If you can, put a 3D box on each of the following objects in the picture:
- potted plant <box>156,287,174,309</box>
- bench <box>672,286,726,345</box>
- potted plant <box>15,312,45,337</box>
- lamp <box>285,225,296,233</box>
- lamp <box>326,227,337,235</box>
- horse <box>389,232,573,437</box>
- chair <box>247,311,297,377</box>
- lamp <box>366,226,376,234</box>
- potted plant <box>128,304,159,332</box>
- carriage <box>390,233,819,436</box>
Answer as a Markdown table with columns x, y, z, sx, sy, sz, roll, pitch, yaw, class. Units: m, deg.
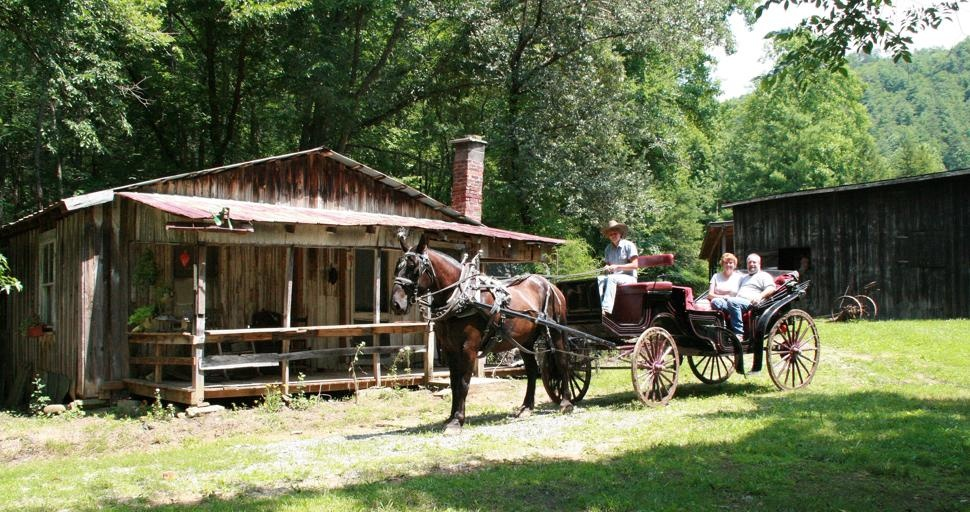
| x | y | z | sx | sy | sz | roll | pitch | yaw | class |
| --- | --- | --- | --- | --- | --- | --- | --- | --- | --- |
| -11.917 | 1.556 | 34.711 | 0.641 | 0.784 | 0.771 | 3 | 6 | 15 | potted plant |
| 7.327 | 2.121 | 31.603 | 1.424 | 2.203 | 1.861 | 0 | 0 | 37 | bench |
| -17.215 | 2.721 | 35.927 | 1.301 | 0.839 | 1.078 | 1 | -3 | 6 | potted plant |
| -6.967 | -0.969 | 33.582 | 0.347 | 0.302 | 0.241 | 1 | 8 | -14 | lamp |
| -5.604 | -0.897 | 34.087 | 0.297 | 0.263 | 0.129 | 4 | 9 | -15 | lamp |
| 0.060 | 2.756 | 31.624 | 8.243 | 5.805 | 2.617 | 8 | -13 | -43 | horse |
| -8.308 | 3.207 | 35.409 | 1.192 | 2.518 | 1.206 | 1 | -6 | -15 | chair |
| -4.209 | -0.936 | 34.529 | 0.276 | 0.234 | 0.268 | 4 | 3 | 23 | lamp |
| -12.385 | 2.261 | 33.805 | 1.025 | 0.952 | 0.344 | -1 | -6 | 8 | potted plant |
| 2.918 | 2.596 | 32.616 | 18.179 | 6.170 | 5.660 | 4 | -9 | -22 | carriage |
